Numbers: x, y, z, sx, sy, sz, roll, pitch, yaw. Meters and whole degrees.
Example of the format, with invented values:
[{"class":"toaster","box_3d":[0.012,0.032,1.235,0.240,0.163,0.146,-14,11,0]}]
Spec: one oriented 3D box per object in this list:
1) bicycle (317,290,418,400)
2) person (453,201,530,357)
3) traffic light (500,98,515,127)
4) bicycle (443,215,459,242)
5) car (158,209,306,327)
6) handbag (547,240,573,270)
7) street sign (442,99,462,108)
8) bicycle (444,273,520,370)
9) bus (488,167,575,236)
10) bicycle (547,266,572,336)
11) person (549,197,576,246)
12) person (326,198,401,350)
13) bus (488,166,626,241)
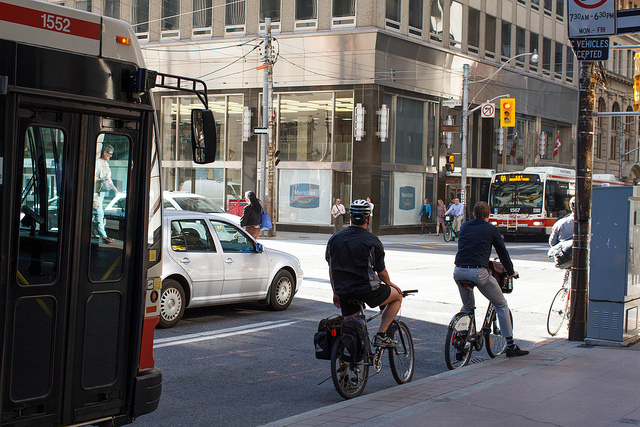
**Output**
[{"class":"bicycle","box_3d":[0.716,1.636,8.950,0.882,1.276,2.030,-9,-9,36]},{"class":"person","box_3d":[2.369,0.984,9.898,0.978,2.240,0.433,-1,3,-21]},{"class":"traffic light","box_3d":[9.633,-5.219,35.490,0.607,1.325,0.562,1,3,23]},{"class":"bicycle","box_3d":[6.203,0.654,32.899,0.561,1.208,1.872,0,3,10]},{"class":"car","box_3d":[-1.889,0.943,12.998,2.833,1.271,1.278,2,-3,-44]},{"class":"handbag","box_3d":[4.254,0.753,12.119,0.345,0.216,0.495,-26,9,-7]},{"class":"street sign","box_3d":[7.162,-6.045,37.778,0.134,0.456,0.819,-4,8,-44]},{"class":"bicycle","box_3d":[2.541,1.681,9.836,0.781,1.087,1.628,3,6,40]},{"class":"bus","box_3d":[12.371,-0.588,38.591,3.028,3.996,9.831,1,-1,34]},{"class":"bicycle","box_3d":[4.184,1.635,12.014,0.242,0.913,0.735,2,4,39]},{"class":"person","box_3d":[4.273,0.154,12.209,0.385,0.886,1.344,1,3,18]},{"class":"person","box_3d":[0.532,0.796,8.644,0.927,1.907,0.523,0,3,6]},{"class":"bus","box_3d":[13.796,-0.518,38.957,2.773,4.052,12.422,0,-1,42]}]
